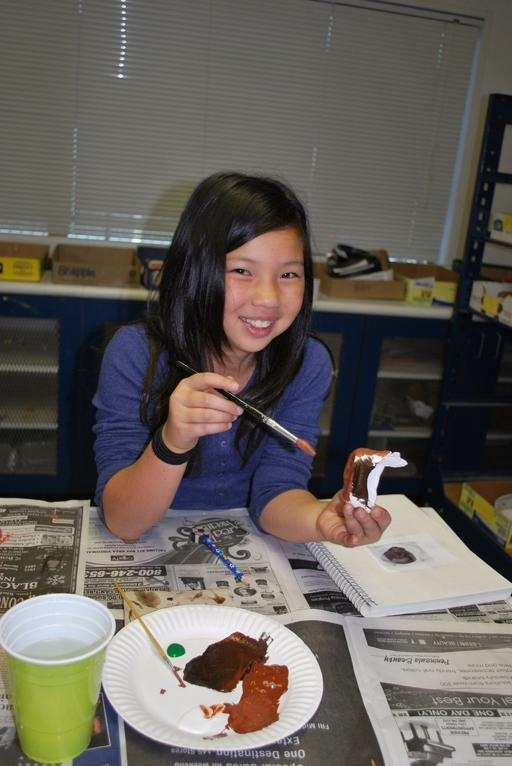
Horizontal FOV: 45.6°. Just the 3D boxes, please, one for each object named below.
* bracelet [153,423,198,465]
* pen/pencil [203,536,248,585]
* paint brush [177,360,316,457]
[{"bbox_3d":[-0.131,0.099,0.908,0.054,0.028,0.060,-2,40,-2],"label":"bracelet"},{"bbox_3d":[-0.044,0.260,0.891,0.024,0.018,0.167,6,3,-17],"label":"pen/pencil"},{"bbox_3d":[-0.020,0.044,1.052,0.301,0.027,0.022,34,50,0],"label":"paint brush"}]
